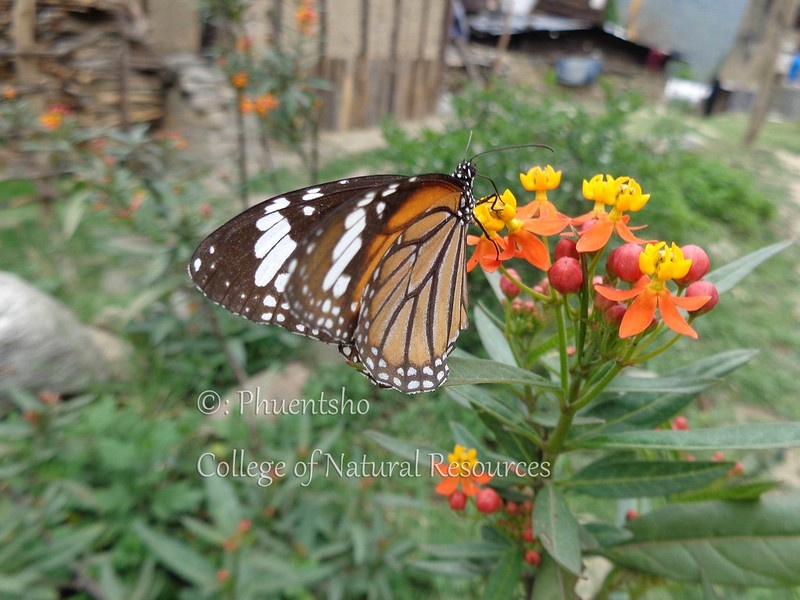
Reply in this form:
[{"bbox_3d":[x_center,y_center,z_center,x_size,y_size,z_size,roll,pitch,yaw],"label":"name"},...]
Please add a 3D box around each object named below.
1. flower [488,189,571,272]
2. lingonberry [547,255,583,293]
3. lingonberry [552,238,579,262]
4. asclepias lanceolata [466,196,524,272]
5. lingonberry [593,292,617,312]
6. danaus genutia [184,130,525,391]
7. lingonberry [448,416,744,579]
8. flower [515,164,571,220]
[{"bbox_3d":[0.309,-0.195,1.644,0.181,0.212,0.175,-3,15,-17],"label":"flower"},{"bbox_3d":[0.398,-0.055,1.506,0.077,0.089,0.084,-2,58,19],"label":"lingonberry"},{"bbox_3d":[0.410,-0.125,1.567,0.055,0.052,0.056,-1,-1,-7],"label":"lingonberry"},{"bbox_3d":[0.242,-0.183,1.673,0.152,0.195,0.135,-1,16,-1],"label":"asclepias lanceolata"},{"bbox_3d":[0.496,0.010,1.531,0.044,0.037,0.033,30,80,17],"label":"lingonberry"},{"bbox_3d":[-0.092,-0.062,1.930,0.812,0.783,0.946,-8,9,-28],"label":"danaus genutia"},{"bbox_3d":[0.426,0.486,1.686,0.388,0.528,0.581,-18,42,-33],"label":"lingonberry"},{"bbox_3d":[0.381,-0.294,1.710,0.134,0.177,0.135,17,25,40],"label":"flower"}]
